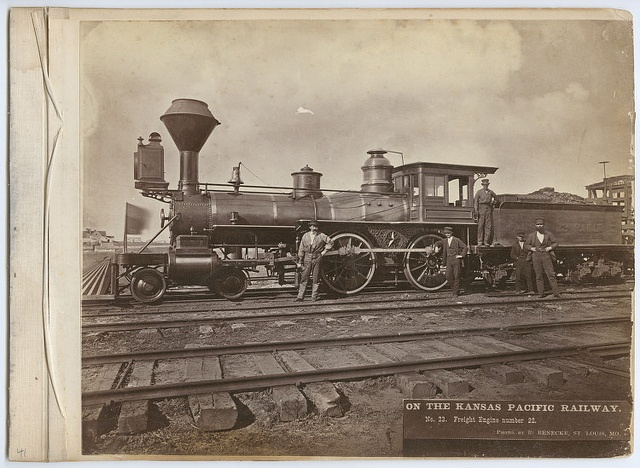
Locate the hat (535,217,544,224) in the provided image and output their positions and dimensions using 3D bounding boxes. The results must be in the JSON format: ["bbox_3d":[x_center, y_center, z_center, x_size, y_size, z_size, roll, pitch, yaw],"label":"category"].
[{"bbox_3d":[4.166,-0.261,10.681,0.102,0.122,0.132,1,6,35],"label":"hat"}]

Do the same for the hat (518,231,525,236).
[{"bbox_3d":[3.968,-0.024,11.102,0.101,0.053,0.077,2,-4,-45],"label":"hat"}]

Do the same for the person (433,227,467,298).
[{"bbox_3d":[2.561,0.510,10.939,0.552,1.278,1.056,0,-3,8],"label":"person"}]

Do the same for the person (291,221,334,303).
[{"bbox_3d":[-0.147,0.476,10.483,0.788,1.434,0.677,1,-3,-26],"label":"person"}]

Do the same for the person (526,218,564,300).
[{"bbox_3d":[4.152,0.405,10.613,0.546,1.466,1.017,0,-3,13],"label":"person"}]
